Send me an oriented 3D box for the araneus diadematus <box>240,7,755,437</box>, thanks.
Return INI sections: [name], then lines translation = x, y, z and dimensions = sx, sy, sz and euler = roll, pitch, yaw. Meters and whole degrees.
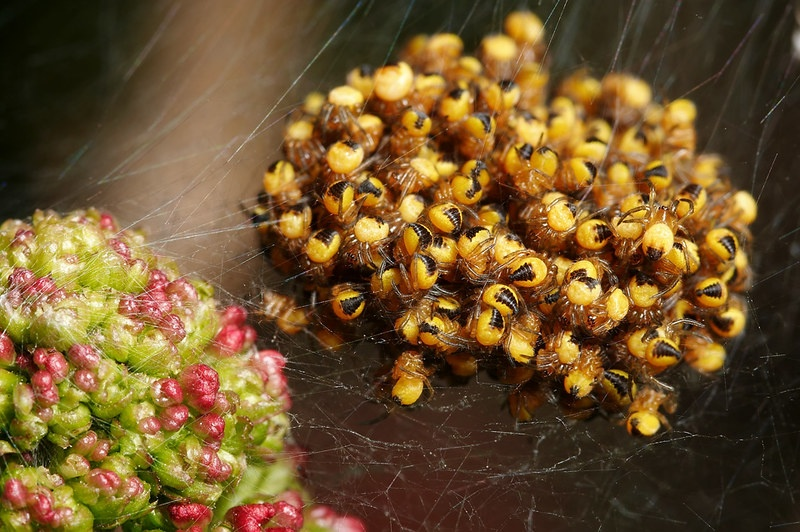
[araneus diadematus]
translation = 0.139, 0.059, 1.372
dimensions = 0.710, 0.314, 0.619
euler = 25, 57, 15
